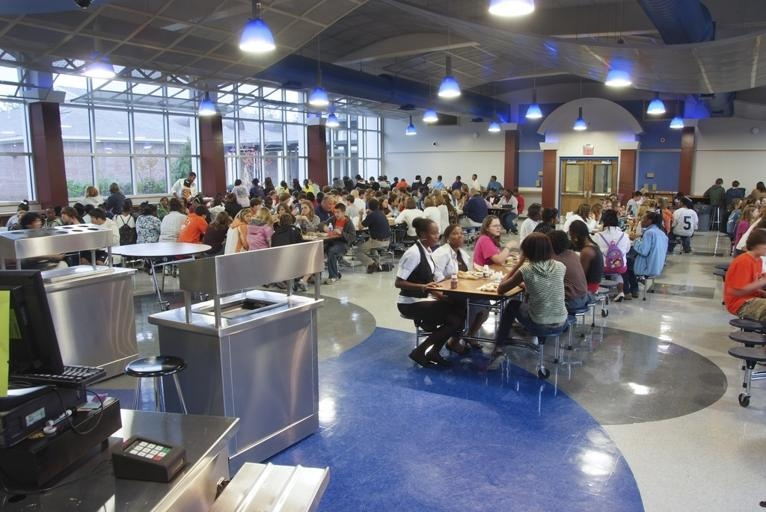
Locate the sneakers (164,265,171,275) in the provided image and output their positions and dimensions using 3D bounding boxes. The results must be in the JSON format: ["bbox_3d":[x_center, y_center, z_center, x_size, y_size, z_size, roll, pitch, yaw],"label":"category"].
[{"bbox_3d":[-4.030,0.272,10.106,0.156,0.162,0.261,1,8,-4],"label":"sneakers"}]

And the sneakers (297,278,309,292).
[{"bbox_3d":[-1.391,0.481,9.282,0.161,0.196,0.474,-5,-10,-26],"label":"sneakers"}]

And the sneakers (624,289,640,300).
[{"bbox_3d":[4.016,0.646,8.799,0.107,0.134,0.322,-5,-4,36],"label":"sneakers"}]

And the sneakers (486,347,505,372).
[{"bbox_3d":[1.270,1.152,6.180,0.231,0.249,0.221,-2,8,-2],"label":"sneakers"}]

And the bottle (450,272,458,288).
[{"bbox_3d":[0.791,0.285,6.123,0.131,0.200,0.128,1,2,0],"label":"bottle"}]
